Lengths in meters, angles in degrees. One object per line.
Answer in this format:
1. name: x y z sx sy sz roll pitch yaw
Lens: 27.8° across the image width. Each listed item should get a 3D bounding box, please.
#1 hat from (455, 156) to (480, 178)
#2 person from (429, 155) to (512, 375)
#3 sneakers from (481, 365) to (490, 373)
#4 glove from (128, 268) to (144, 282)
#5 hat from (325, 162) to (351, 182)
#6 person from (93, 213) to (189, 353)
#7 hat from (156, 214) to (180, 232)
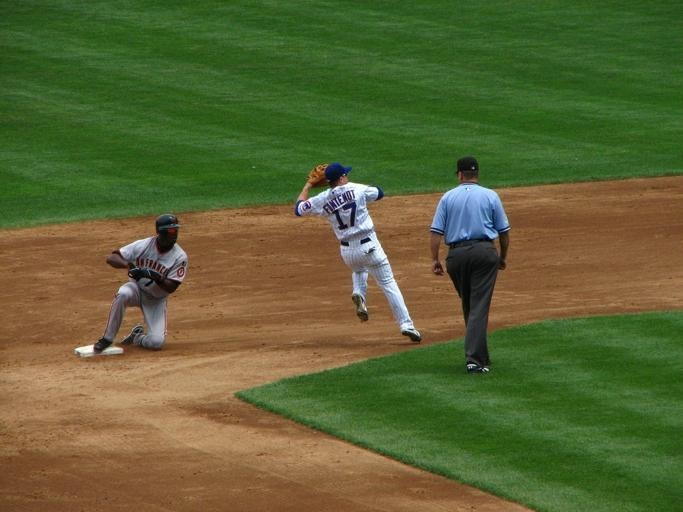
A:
1. hat: 2.063 -1.481 22.666 0.337 0.202 0.392 -2 17 -7
2. person: 2.082 0.115 22.440 1.151 3.406 0.853 2 9 12
3. sneakers: 2.366 1.782 22.302 0.214 0.116 0.077 -6 10 -43
4. glove: -3.517 0.294 23.723 0.239 0.216 0.174 -1 8 -7
5. hat: -0.052 -1.465 23.735 0.449 0.201 0.290 -31 26 -18
6. person: -3.396 0.427 23.879 1.409 2.306 0.583 -1 8 -6
7. hat: -2.985 -0.574 23.754 0.363 0.285 0.247 0 8 -2
